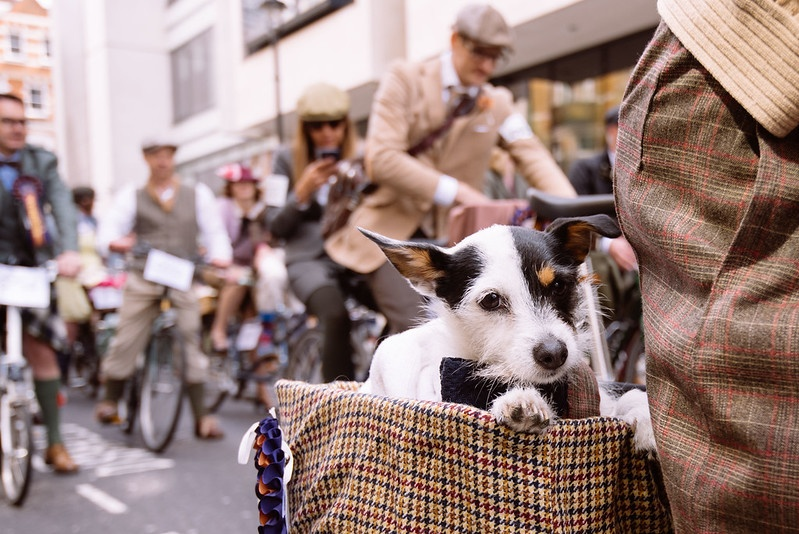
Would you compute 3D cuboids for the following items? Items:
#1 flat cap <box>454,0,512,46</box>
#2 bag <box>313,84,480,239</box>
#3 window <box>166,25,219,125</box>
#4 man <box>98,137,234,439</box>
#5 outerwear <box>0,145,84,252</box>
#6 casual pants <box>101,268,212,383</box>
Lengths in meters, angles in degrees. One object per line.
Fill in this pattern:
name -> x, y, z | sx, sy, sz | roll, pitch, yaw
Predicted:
flat cap -> 0.386, -1.097, 3.709 | 0.167, 0.197, 0.223 | 12, 22, -7
bag -> -0.156, -0.467, 4.363 | 0.500, 0.453, 1.819 | 14, 24, -26
window -> -1.064, -1.007, 4.180 | 0.299, 0.413, 0.032 | -27, 52, -29
man -> -1.691, 0.135, 5.772 | 0.893, 2.145, 0.905 | 0, 4, -8
outerwear -> -1.993, -0.371, 4.574 | 0.359, 0.535, 0.208 | -11, 26, -23
casual pants -> -1.784, 0.460, 6.057 | 0.806, 0.955, 0.310 | 8, 36, -20
